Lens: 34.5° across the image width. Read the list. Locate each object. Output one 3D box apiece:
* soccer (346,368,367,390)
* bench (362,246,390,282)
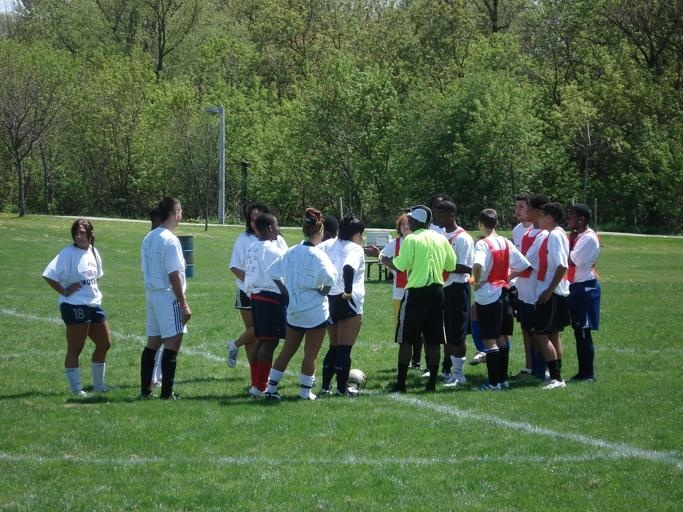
[{"bbox_3d":[0.678,4.738,42.414,0.633,0.780,0.702,24,44,20],"label":"soccer"},{"bbox_3d":[1.637,0.441,50.425,1.617,1.795,0.083,1,-8,-5],"label":"bench"}]
